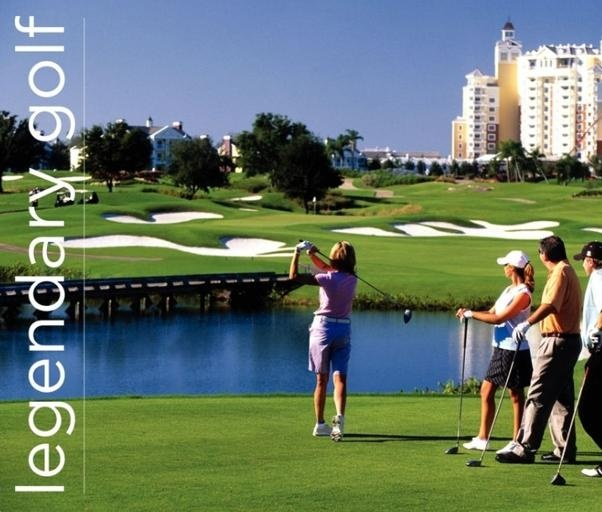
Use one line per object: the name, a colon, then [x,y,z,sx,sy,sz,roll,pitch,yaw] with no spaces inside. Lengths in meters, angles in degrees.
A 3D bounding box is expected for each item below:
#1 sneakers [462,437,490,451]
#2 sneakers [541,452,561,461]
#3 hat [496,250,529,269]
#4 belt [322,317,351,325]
sneakers: [3.810,4.155,26.579,0.581,0.265,0.218,0,1,18]
sneakers: [5.401,4.404,26.406,0.376,0.182,0.170,2,2,27]
hat: [4.610,0.126,26.610,0.619,0.322,0.405,5,11,33]
belt: [0.706,1.453,27.023,0.612,0.211,0.074,-1,9,1]
